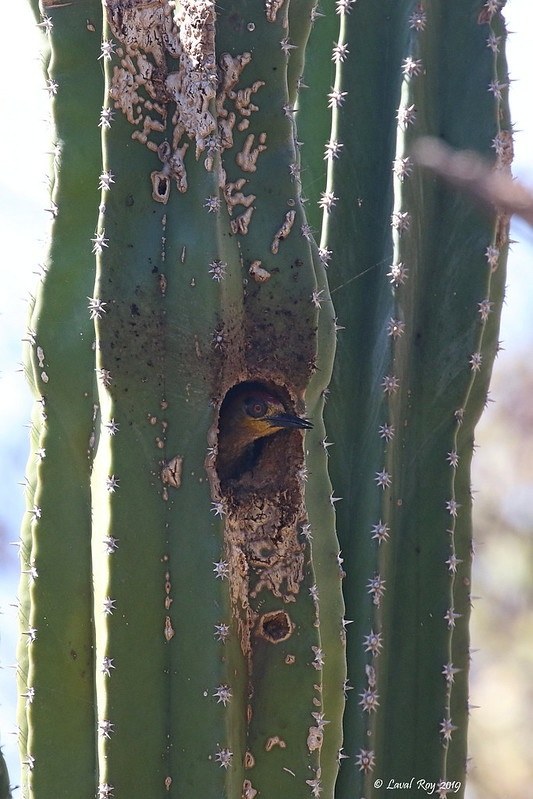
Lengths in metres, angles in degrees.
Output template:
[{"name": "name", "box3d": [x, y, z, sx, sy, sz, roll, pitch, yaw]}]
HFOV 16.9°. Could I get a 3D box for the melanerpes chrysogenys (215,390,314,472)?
[{"name": "melanerpes chrysogenys", "box3d": [-0.040, 0.068, 4.857, 0.365, 0.239, 0.123, -3, 6, 12]}]
